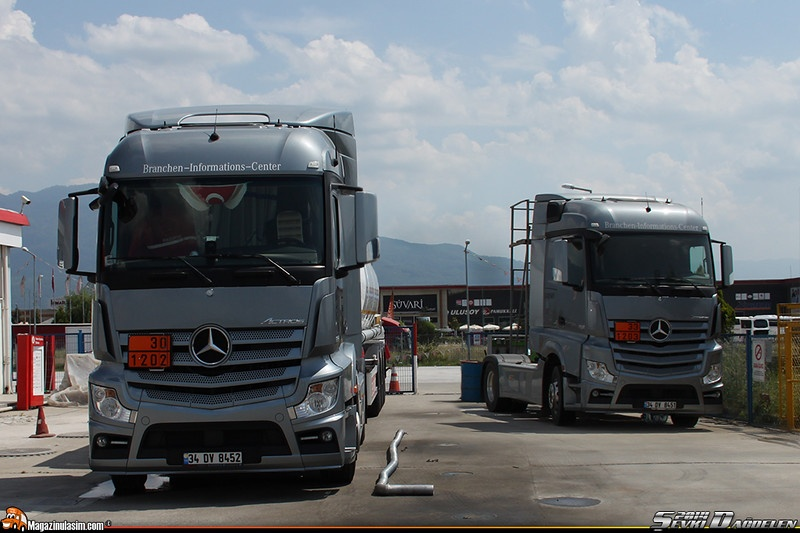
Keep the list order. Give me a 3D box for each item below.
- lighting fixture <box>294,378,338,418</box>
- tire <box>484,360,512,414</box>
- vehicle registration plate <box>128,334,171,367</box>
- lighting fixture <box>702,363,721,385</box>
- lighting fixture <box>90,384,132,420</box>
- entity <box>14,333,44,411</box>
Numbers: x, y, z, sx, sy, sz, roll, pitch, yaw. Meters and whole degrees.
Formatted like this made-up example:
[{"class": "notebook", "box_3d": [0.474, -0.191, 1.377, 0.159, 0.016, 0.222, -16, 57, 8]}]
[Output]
[{"class": "lighting fixture", "box_3d": [-1.155, 1.869, 11.219, 0.437, 0.581, 0.270, 5, -3, -17]}, {"class": "tire", "box_3d": [2.557, 3.084, 20.577, 0.434, 1.431, 1.452, 1, 2, -14]}, {"class": "vehicle registration plate", "box_3d": [-3.519, 1.185, 11.197, 0.469, 0.334, 0.062, -1, 2, 3]}, {"class": "lighting fixture", "box_3d": [6.654, 2.261, 16.903, 0.343, 0.442, 0.180, 7, -2, 20]}, {"class": "lighting fixture", "box_3d": [-4.074, 1.916, 11.206, 0.724, 0.499, 0.146, -1, -1, 28]}, {"class": "entity", "box_3d": [-10.188, 2.906, 21.904, 0.677, 2.068, 0.992, 0, -1, -25]}]
